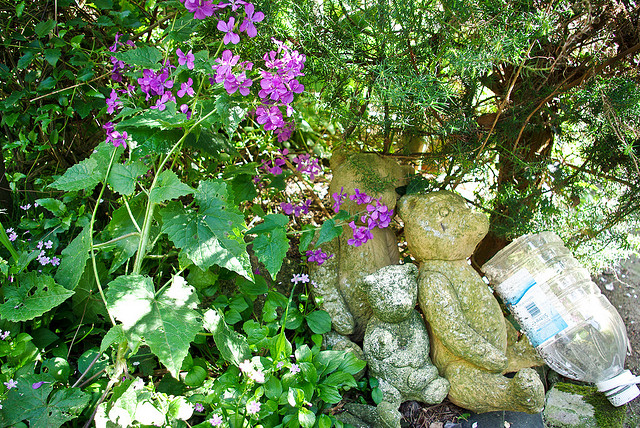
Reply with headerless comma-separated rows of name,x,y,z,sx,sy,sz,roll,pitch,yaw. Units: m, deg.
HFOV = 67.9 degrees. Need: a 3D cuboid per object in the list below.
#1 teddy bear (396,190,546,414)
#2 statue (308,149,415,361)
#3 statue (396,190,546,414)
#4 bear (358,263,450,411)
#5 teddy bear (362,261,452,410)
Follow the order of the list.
teddy bear,1.025,0.465,2.905,0.821,1.311,0.897,-13,11,-27
statue,0.232,0.343,3.044,0.493,1.358,0.576,-5,34,-9
statue,1.029,0.462,2.881,0.819,1.346,0.875,-10,6,-25
bear,0.501,0.729,2.749,0.565,0.983,0.559,-8,13,-14
teddy bear,0.442,0.745,2.863,0.473,0.860,0.621,-1,18,2
